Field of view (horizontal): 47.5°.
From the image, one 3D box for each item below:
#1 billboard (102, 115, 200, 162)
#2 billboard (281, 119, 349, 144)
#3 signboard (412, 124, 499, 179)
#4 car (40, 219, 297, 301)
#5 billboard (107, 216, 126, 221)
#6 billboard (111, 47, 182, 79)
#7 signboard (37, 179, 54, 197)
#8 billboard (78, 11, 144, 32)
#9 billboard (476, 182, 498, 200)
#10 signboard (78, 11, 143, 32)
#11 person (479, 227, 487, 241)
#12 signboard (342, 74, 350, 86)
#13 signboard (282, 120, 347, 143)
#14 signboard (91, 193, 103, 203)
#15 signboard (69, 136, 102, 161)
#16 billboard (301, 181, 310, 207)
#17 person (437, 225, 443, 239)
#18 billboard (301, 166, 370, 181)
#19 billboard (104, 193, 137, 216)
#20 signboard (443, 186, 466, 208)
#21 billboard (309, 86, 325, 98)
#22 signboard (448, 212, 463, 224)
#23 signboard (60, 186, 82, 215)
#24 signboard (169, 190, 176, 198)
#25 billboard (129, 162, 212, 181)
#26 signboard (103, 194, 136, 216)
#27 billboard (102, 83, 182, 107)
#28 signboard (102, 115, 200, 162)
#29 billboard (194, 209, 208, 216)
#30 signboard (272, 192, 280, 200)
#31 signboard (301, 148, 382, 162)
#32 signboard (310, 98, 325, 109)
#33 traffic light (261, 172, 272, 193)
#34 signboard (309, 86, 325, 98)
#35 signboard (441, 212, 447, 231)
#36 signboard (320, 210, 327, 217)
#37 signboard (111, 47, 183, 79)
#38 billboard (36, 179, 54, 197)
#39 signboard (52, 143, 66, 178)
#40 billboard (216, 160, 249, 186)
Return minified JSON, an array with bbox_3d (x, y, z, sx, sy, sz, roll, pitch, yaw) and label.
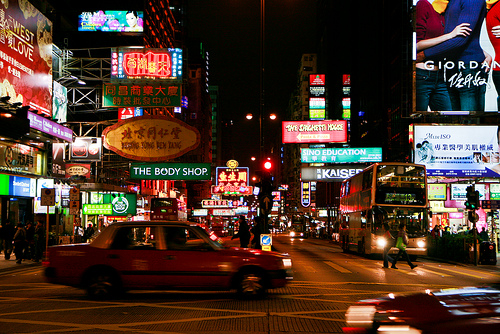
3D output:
[{"bbox_3d":[-5.603,-1.725,32.679,5.717,2.805,0.217,-1,14,-15],"label":"billboard"},{"bbox_3d":[4.925,-2.710,43.543,5.376,1.848,0.218,-2,7,-10],"label":"billboard"},{"bbox_3d":[15.726,-1.223,43.157,6.127,4.060,0.625,0,-8,6],"label":"signboard"},{"bbox_3d":[-3.015,3.580,21.954,8.764,2.524,3.541,0,-5,-3],"label":"car"},{"bbox_3d":[-11.772,4.498,50.461,1.603,0.370,1.641,3,-9,-15],"label":"billboard"},{"bbox_3d":[-6.460,-6.469,35.727,4.357,2.018,0.468,-1,-3,-8],"label":"billboard"},{"bbox_3d":[-13.403,1.279,37.364,1.275,1.406,0.188,-2,-3,29],"label":"signboard"},{"bbox_3d":[-15.677,-16.651,64.246,8.174,2.613,0.962,-10,28,-39],"label":"billboard"},{"bbox_3d":[17.585,1.761,42.144,1.283,1.244,0.093,2,7,40],"label":"billboard"},{"bbox_3d":[-15.672,-16.642,64.213,8.201,2.620,0.962,-11,28,-39],"label":"signboard"},{"bbox_3d":[15.525,4.403,37.872,0.425,0.883,1.669,-2,-9,22],"label":"person"},{"bbox_3d":[23.121,-21.156,138.080,1.724,2.943,0.996,2,-8,-4],"label":"signboard"},{"bbox_3d":[4.912,-2.693,43.494,5.044,1.894,0.155,-1,15,0],"label":"signboard"},{"bbox_3d":[-14.008,2.763,51.966,0.914,1.199,3.776,4,-9,-17],"label":"signboard"},{"bbox_3d":[-11.038,-1.231,38.269,2.685,1.711,0.433,-3,-9,23],"label":"signboard"},{"bbox_3d":[14.758,7.135,150.132,1.937,6.116,3.222,1,-8,4],"label":"billboard"},{"bbox_3d":[14.459,4.941,43.387,0.344,0.275,1.049,-9,-33,15],"label":"person"},{"bbox_3d":[6.305,0.489,45.199,4.478,1.265,0.895,0,-9,6],"label":"billboard"},{"bbox_3d":[-11.231,3.227,49.051,3.022,1.937,1.684,1,-2,-15],"label":"billboard"},{"bbox_3d":[15.843,2.234,44.185,1.763,1.741,0.170,0,4,-1],"label":"signboard"},{"bbox_3d":[19.159,-21.388,161.503,4.556,4.199,2.286,1,36,-4],"label":"billboard"},{"bbox_3d":[17.961,4.395,49.664,1.264,1.177,1.223,-1,-5,0],"label":"signboard"},{"bbox_3d":[-11.825,2.080,37.456,2.604,2.325,0.633,-2,-2,38],"label":"signboard"},{"bbox_3d":[-12.468,4.233,91.186,0.706,1.213,1.290,-3,0,9],"label":"signboard"},{"bbox_3d":[-4.634,0.192,33.432,4.655,1.110,0.720,1,-8,0],"label":"billboard"},{"bbox_3d":[-11.498,3.258,49.441,3.127,1.960,1.656,1,-4,-30],"label":"signboard"},{"bbox_3d":[-6.546,-4.479,34.357,5.138,1.639,0.218,-5,11,-36],"label":"billboard"},{"bbox_3d":[-5.672,-1.673,32.595,5.155,2.620,0.653,1,-8,2],"label":"signboard"},{"bbox_3d":[-9.386,8.658,109.476,2.659,1.186,1.402,-4,-10,30],"label":"billboard"},{"bbox_3d":[5.316,6.153,111.509,0.655,2.465,2.735,5,0,11],"label":"signboard"},{"bbox_3d":[7.165,-0.966,44.553,6.048,1.209,0.832,-1,-9,13],"label":"signboard"},{"bbox_3d":[15.769,-15.048,134.137,3.235,2.838,0.758,2,1,5],"label":"signboard"},{"bbox_3d":[0.904,0.832,30.310,0.535,1.093,0.622,1,-8,0],"label":"traffic light"},{"bbox_3d":[19.159,-21.388,161.503,4.556,4.198,2.286,1,36,-4],"label":"signboard"},{"bbox_3d":[17.182,4.674,50.395,0.474,1.230,1.576,-2,-9,18],"label":"signboard"},{"bbox_3d":[14.404,9.288,111.738,1.871,1.201,0.981,0,-9,3],"label":"signboard"},{"bbox_3d":[-6.441,-6.526,35.759,4.456,1.962,0.438,2,3,5],"label":"signboard"},{"bbox_3d":[-13.486,1.275,37.520,1.291,1.212,0.679,0,-6,-1],"label":"billboard"},{"bbox_3d":[-13.331,-0.487,39.686,0.815,2.249,1.378,3,-9,-13],"label":"signboard"},{"bbox_3d":[-1.807,0.582,58.338,3.262,2.710,1.168,0,-8,4],"label":"billboard"}]
